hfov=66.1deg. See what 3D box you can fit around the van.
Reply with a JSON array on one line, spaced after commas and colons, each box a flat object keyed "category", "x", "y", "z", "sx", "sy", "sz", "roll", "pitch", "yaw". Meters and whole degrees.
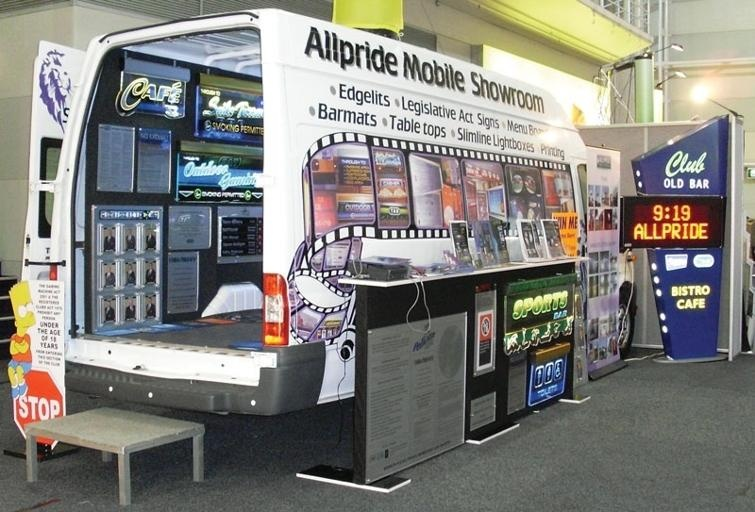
[{"category": "van", "x": -0.303, "y": -0.553, "z": 5.844, "sx": 2.793, "sy": 2.530, "sz": 4.941, "roll": 2, "pitch": 4, "yaw": 38}]
